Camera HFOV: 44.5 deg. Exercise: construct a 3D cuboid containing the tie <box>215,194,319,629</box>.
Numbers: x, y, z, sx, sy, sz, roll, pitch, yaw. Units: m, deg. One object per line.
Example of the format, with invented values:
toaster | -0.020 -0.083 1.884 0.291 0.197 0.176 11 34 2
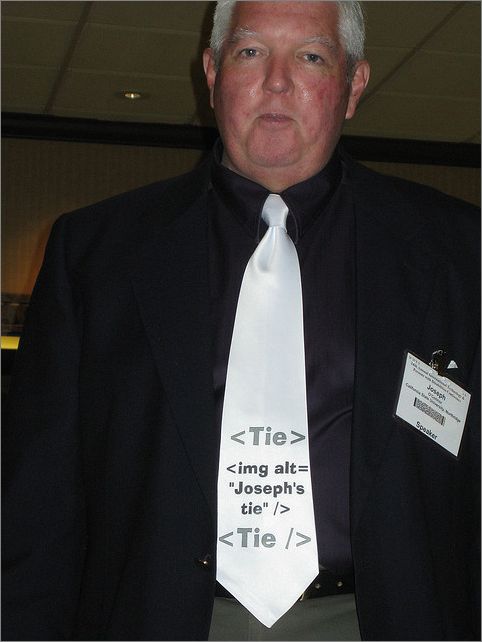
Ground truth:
tie | 0.030 0.096 0.663 0.106 0.397 0.145 3 1 -4
